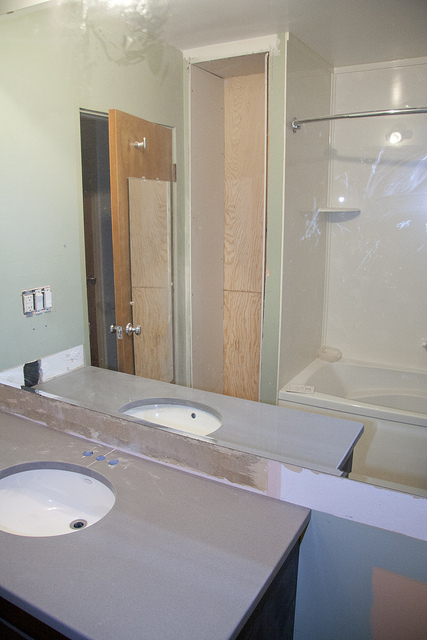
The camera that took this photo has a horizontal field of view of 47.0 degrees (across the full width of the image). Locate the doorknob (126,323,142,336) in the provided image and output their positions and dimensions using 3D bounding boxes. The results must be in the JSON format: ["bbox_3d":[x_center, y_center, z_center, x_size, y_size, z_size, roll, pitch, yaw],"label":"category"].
[{"bbox_3d":[-0.212,0.026,1.320,0.038,0.035,0.029,3,6,25],"label":"doorknob"}]
